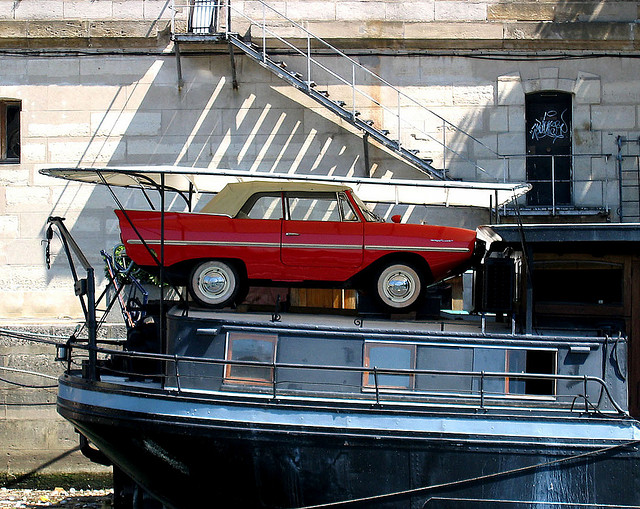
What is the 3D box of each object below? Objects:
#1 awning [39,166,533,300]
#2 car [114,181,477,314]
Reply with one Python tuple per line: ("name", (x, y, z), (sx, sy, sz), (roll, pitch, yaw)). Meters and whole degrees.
("awning", (-0.287, -0.366, 38.376), (10.755, 2.719, 2.354), (0, -8, 1))
("car", (-0.422, -0.183, 38.491), (6.661, 2.253, 2.307), (0, 1, -7))
